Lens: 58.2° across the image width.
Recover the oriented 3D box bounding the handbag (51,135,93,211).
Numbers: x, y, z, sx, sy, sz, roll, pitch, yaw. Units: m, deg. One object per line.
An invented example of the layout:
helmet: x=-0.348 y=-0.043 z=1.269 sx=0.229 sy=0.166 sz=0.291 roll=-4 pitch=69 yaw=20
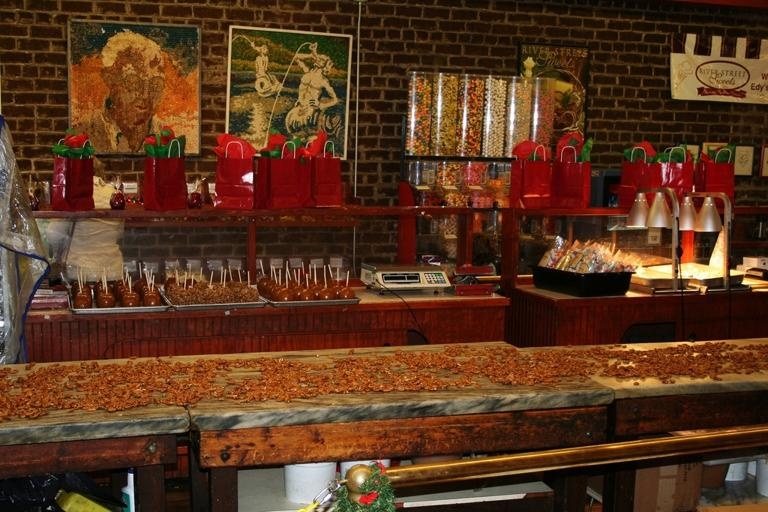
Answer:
handbag: x=-1.973 y=-0.541 z=4.343 sx=0.265 sy=0.479 sz=0.168 roll=-4 pitch=17 yaw=-21

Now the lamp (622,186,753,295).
lamp: x=2.158 y=-0.168 z=5.094 sx=1.072 sy=0.758 sz=0.824 roll=0 pitch=0 yaw=-7
